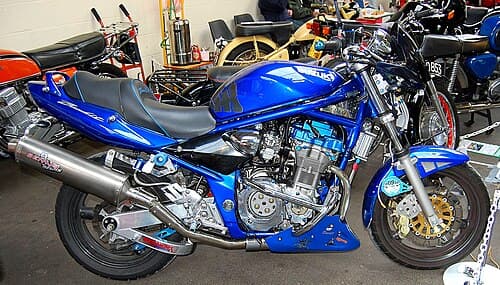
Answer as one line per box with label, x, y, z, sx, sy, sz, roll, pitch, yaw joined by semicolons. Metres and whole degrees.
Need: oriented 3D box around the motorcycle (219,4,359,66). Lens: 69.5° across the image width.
motorcycle;0.470;-2.000;7.111;2.289;1.377;1.297;-11;20;-11
